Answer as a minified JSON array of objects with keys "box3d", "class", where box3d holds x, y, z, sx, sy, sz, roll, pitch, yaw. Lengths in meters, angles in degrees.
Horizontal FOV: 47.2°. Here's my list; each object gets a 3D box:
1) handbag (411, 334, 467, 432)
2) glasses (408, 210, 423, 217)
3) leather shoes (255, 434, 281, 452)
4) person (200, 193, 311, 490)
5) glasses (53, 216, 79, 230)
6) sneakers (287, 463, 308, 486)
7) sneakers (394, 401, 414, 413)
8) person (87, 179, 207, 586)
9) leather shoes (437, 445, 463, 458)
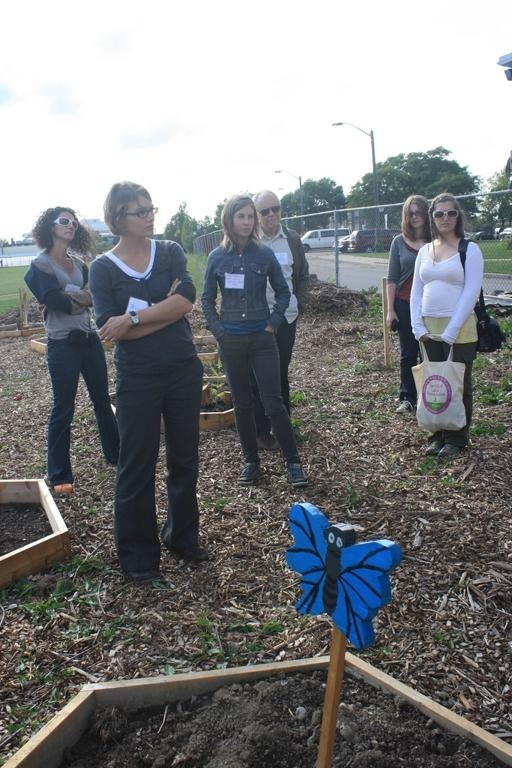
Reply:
[{"box3d":[1.321,0.077,4.220,0.395,0.700,0.261,6,16,38],"class":"handbag"},{"box3d":[1.343,-1.446,4.988,0.044,0.054,0.038,-16,3,-4],"class":"glasses"},{"box3d":[0.099,0.491,4.794,0.245,0.160,0.079,-3,8,12],"class":"leather shoes"},{"box3d":[-0.001,-0.292,4.030,0.556,1.933,0.899,-12,15,-29],"class":"person"},{"box3d":[-1.324,-1.110,3.988,0.115,0.036,0.108,-1,0,20],"class":"glasses"},{"box3d":[0.278,0.617,3.909,0.101,0.132,0.156,-6,12,-10],"class":"sneakers"},{"box3d":[1.389,0.230,5.473,0.077,0.098,0.228,-13,-9,33],"class":"sneakers"},{"box3d":[-0.510,-0.004,2.870,0.482,1.899,0.601,-3,13,7],"class":"person"},{"box3d":[1.371,0.483,4.152,0.075,0.078,0.206,2,-7,41],"class":"leather shoes"}]
